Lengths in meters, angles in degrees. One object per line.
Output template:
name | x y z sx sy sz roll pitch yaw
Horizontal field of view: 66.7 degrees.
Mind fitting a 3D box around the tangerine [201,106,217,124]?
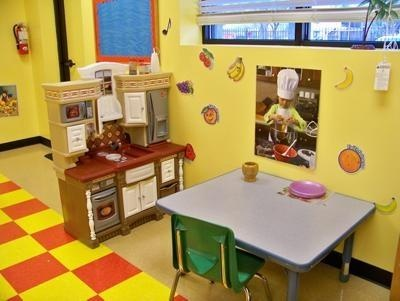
tangerine | 0.100 -0.405 3.383 0.161 0.173 0.059 16 24 40

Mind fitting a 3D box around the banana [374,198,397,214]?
banana | 1.450 0.453 2.438 0.061 0.131 0.188 -4 -2 -34

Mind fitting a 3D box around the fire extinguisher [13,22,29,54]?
fire extinguisher | -3.047 -1.917 5.178 0.171 0.491 0.173 13 22 33

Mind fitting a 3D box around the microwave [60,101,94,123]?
microwave | -1.217 -0.386 2.998 0.196 0.195 0.290 17 23 37

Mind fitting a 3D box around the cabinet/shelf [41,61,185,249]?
cabinet/shelf | -0.879 0.057 3.270 0.609 1.834 1.449 14 25 32

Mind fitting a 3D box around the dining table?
dining table | 0.625 0.454 2.308 1.105 0.610 0.991 17 27 38

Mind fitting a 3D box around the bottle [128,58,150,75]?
bottle | -0.718 -0.992 3.594 0.255 0.196 0.226 13 21 35

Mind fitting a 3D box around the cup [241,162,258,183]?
cup | 0.449 0.187 2.753 0.153 0.175 0.162 -1 11 0

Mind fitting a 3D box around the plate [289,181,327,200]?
plate | 0.918 0.329 2.608 0.176 0.040 0.176 5 22 21

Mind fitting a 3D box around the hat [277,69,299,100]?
hat | 0.779 -0.589 2.717 0.183 0.249 0.239 4 18 11
